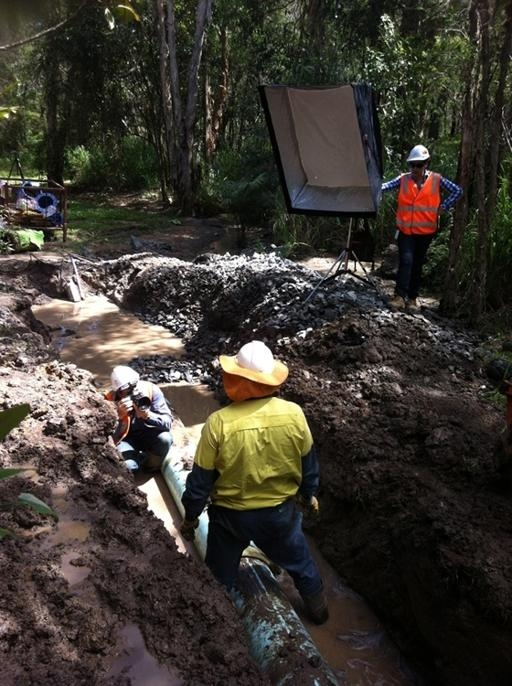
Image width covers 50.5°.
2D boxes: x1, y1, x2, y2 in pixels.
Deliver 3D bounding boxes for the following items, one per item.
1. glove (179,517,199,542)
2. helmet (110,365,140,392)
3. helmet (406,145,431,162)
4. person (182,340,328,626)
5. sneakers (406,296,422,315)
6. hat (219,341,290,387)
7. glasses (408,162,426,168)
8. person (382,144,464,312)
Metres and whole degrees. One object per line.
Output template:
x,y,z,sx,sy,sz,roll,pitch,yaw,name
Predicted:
-0.368,1.021,3.062,0.133,0.168,0.050,3,32,-11,glove
-1.054,0.300,4.399,0.204,0.190,0.228,-1,12,-11,helmet
1.761,-2.027,5.861,0.208,0.210,0.366,5,12,14,helmet
0.024,0.850,2.950,0.832,1.734,0.377,0,12,-9,person
1.918,-0.446,6.570,0.132,0.269,0.263,2,25,18,sneakers
0.026,0.097,2.775,0.248,0.117,0.278,22,16,11,hat
1.755,-1.896,5.823,0.174,0.078,0.222,5,12,15,glasses
1.887,-1.235,6.081,0.612,1.773,0.557,5,12,18,person
